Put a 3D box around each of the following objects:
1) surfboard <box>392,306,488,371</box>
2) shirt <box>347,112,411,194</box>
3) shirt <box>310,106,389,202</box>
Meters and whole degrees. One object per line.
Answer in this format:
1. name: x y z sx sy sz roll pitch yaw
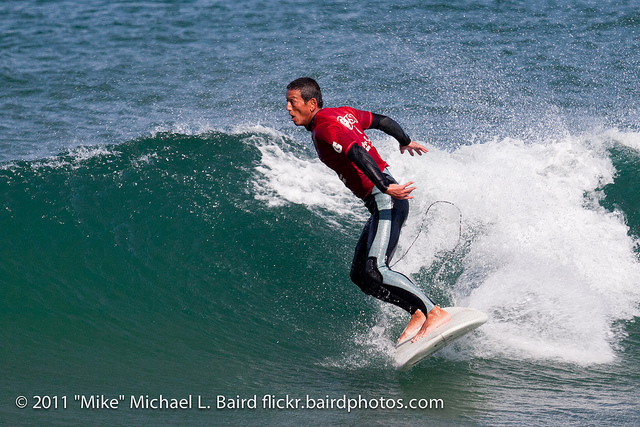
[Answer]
1. surfboard: 2.273 2.376 15.109 1.448 2.429 0.239 -23 84 6
2. shirt: 1.027 -0.939 14.684 1.135 1.527 1.501 -9 23 -2
3. shirt: 0.497 -1.387 14.749 0.833 2.141 1.829 -26 20 18
